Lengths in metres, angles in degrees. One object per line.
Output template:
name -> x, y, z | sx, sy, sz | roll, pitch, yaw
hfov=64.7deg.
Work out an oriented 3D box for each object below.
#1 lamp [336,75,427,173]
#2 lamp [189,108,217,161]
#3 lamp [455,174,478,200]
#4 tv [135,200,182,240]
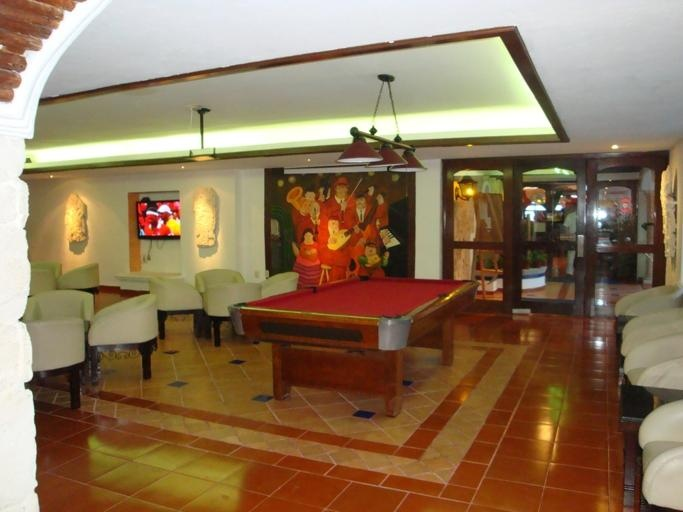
lamp -> 0.434, -1.335, 5.316 | 0.392, 0.881, 1.235 | 1, 2, 37
lamp -> -1.872, -1.589, 7.210 | 0.321, 0.586, 1.581 | -3, 8, -15
lamp -> 2.075, -1.154, 9.041 | 0.365, 0.494, 0.406 | -1, 3, 33
tv -> -3.839, -0.814, 11.367 | 0.878, 0.621, 0.120 | 1, 0, 10
